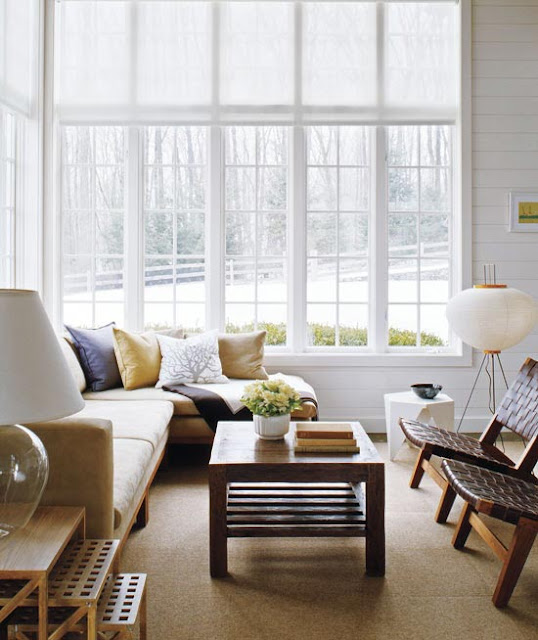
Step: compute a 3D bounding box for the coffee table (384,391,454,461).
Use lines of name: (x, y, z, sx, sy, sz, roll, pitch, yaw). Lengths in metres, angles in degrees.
coffee table: (0.910, 0.663, 4.113, 0.453, 0.470, 0.450, -1, -5, -6)

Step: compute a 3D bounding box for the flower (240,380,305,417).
flower: (0.014, 0.358, 2.819, 0.246, 0.177, 0.153, 4, 7, 30)

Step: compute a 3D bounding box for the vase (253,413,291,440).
vase: (0.014, 0.486, 2.819, 0.128, 0.082, 0.128, 0, -9, 6)

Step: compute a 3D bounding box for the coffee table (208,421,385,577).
coffee table: (0.113, 0.752, 2.761, 0.723, 0.496, 0.650, 0, 6, -1)
